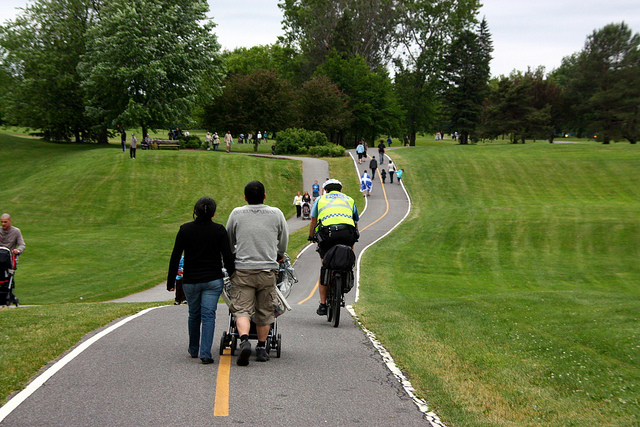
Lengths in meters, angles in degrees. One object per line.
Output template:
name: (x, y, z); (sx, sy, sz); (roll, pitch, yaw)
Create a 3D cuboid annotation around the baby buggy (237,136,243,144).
baby buggy: (-13.381, -12.263, 79.320); (0.856, 1.430, 1.075); (8, 17, 12)

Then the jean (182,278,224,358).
jean: (-2.124, 1.904, 8.594); (0.668, 1.522, 0.370); (5, 9, 22)

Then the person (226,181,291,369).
person: (-1.104, 1.099, 8.613); (0.981, 3.281, 0.873); (-1, 9, -21)

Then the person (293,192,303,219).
person: (-1.728, -0.494, 37.781); (0.581, 1.761, 1.092); (1, 8, -5)

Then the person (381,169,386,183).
person: (6.228, -3.668, 47.021); (0.442, 1.196, 0.993); (3, 8, 7)

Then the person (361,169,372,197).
person: (3.980, -2.637, 41.393); (0.789, 2.306, 0.619); (2, 14, -4)

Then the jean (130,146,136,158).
jean: (-17.030, -5.522, 43.219); (0.283, 0.913, 0.985); (-1, 8, -17)
